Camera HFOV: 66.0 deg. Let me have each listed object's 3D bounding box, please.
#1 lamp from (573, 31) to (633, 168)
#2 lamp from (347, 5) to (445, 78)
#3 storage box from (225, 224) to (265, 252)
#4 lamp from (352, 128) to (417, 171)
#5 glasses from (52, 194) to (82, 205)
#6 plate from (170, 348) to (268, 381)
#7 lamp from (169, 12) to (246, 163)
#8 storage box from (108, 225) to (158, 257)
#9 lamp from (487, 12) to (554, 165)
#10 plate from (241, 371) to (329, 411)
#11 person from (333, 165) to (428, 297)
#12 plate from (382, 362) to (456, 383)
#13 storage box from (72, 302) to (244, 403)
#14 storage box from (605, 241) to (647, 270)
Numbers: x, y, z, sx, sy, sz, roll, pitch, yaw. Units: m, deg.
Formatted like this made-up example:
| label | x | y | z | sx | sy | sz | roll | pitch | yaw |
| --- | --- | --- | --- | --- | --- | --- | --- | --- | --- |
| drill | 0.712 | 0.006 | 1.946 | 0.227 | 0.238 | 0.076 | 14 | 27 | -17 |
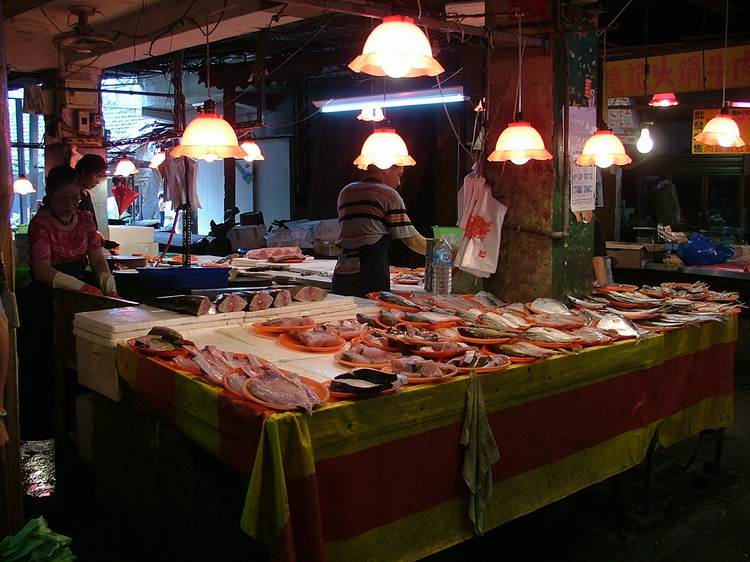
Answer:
| label | x | y | z | sx | sy | sz | roll | pitch | yaw |
| --- | --- | --- | --- | --- | --- | --- | --- | --- | --- |
| lamp | 1.956 | -1.237 | 4.992 | 0.443 | 1.042 | 0.443 | 1 | 14 | 18 |
| lamp | 0.107 | -1.343 | 3.470 | 0.474 | 0.286 | 0.479 | 7 | 12 | 32 |
| storage box | -2.422 | -0.817 | 10.886 | 0.558 | 0.356 | 0.564 | 0 | 1 | 27 |
| lamp | 0.033 | -1.146 | 5.124 | 0.427 | 0.277 | 0.434 | 3 | 6 | 36 |
| glasses | -2.776 | -0.739 | 5.160 | 0.127 | 0.069 | 0.164 | -7 | 3 | -40 |
| plate | -0.854 | 0.431 | 3.042 | 0.322 | 0.084 | 0.249 | 13 | 10 | 21 |
| lamp | -1.370 | -1.619 | 4.688 | 0.594 | 1.273 | 1.547 | -2 | 9 | -17 |
| storage box | -4.365 | -0.715 | 10.326 | 0.787 | 0.554 | 0.757 | 0 | 0 | 25 |
| lamp | 1.207 | -1.583 | 4.624 | 0.517 | 1.248 | 1.022 | 2 | 9 | 11 |
| plate | -0.419 | 0.504 | 2.701 | 0.397 | 0.097 | 0.370 | 2 | 9 | 9 |
| person | -0.008 | -0.476 | 5.453 | 0.800 | 1.234 | 0.501 | 0 | 9 | -5 |
| plate | 0.232 | 0.469 | 2.985 | 0.165 | 0.051 | 0.173 | 6 | 5 | 21 |
| storage box | -1.543 | 0.346 | 3.786 | 0.561 | 0.389 | 0.871 | -6 | 9 | -44 |
| storage box | 3.562 | -0.382 | 8.166 | 0.610 | 0.377 | 0.620 | 7 | 11 | 43 |
